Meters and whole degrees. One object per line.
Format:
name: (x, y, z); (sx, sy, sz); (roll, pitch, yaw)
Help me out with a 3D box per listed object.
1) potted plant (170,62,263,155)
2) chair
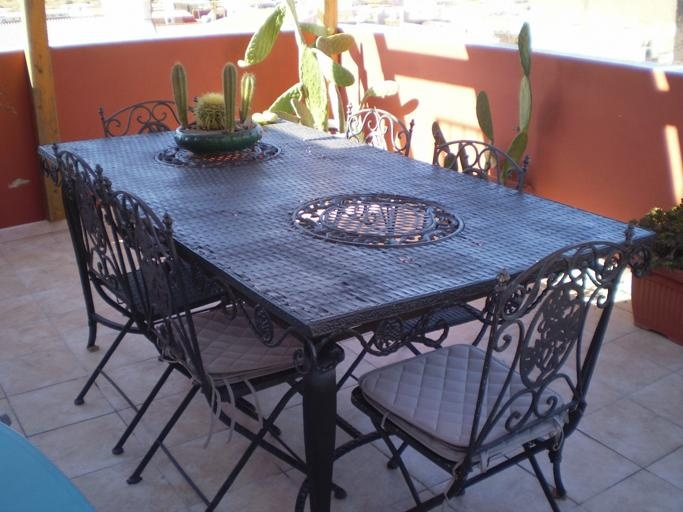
potted plant: (-0.659, -0.766, 3.016); (0.462, 0.493, 0.485); (19, 32, 32)
chair: (0.025, 0.243, 2.341); (1.045, 0.832, 1.707); (-13, 28, -31)
